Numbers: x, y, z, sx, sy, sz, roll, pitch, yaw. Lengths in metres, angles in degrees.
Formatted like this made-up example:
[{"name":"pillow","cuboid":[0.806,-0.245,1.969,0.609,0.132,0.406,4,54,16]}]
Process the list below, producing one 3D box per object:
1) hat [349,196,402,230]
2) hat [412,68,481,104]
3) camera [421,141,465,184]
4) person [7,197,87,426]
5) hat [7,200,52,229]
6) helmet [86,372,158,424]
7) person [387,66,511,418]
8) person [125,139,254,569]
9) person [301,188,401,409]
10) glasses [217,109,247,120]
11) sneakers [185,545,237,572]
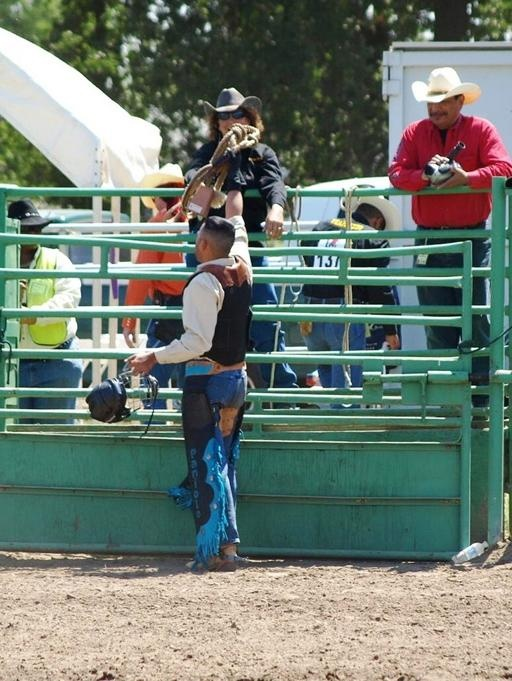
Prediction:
[{"name":"hat","cuboid":[0.758,-0.797,8.944,0.289,0.299,0.076,9,41,15]},{"name":"hat","cuboid":[1.148,-1.471,8.202,0.305,0.157,0.336,1,0,19]},{"name":"camera","cuboid":[1.034,-1.000,7.689,0.204,0.275,0.184,1,34,-6]},{"name":"person","cuboid":[-1.280,-0.117,8.456,0.422,1.438,0.849,-2,10,-8]},{"name":"hat","cuboid":[-1.419,-0.777,8.580,0.217,0.102,0.220,-29,1,24]},{"name":"helmet","cuboid":[-0.712,0.322,7.348,0.343,0.232,0.239,-6,-19,-30]},{"name":"person","cuboid":[1.101,-0.598,8.026,0.628,1.920,0.910,-3,10,-12]},{"name":"person","cuboid":[-0.225,0.269,7.394,0.390,1.851,0.787,3,11,22]},{"name":"person","cuboid":[0.607,-0.201,8.931,0.644,1.490,1.722,-1,10,2]},{"name":"glasses","cuboid":[-0.142,-1.309,8.046,0.155,0.063,0.084,0,10,3]},{"name":"sneakers","cuboid":[-0.254,1.136,7.296,0.292,0.117,0.102,-2,-29,8]}]
